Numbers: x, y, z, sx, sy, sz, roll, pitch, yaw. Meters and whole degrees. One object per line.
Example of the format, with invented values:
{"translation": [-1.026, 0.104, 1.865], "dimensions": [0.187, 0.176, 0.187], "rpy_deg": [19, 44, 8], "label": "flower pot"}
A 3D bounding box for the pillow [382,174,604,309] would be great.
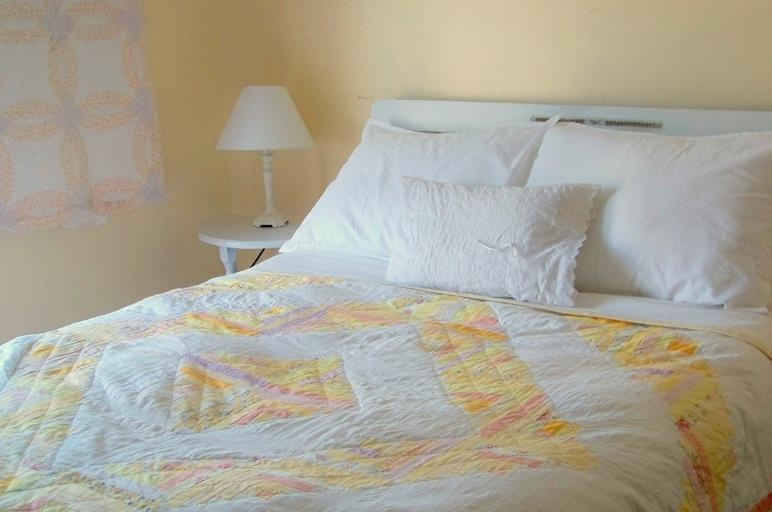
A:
{"translation": [0.355, -0.055, 1.963], "dimensions": [0.746, 0.359, 0.206], "rpy_deg": [8, 9, 42], "label": "pillow"}
